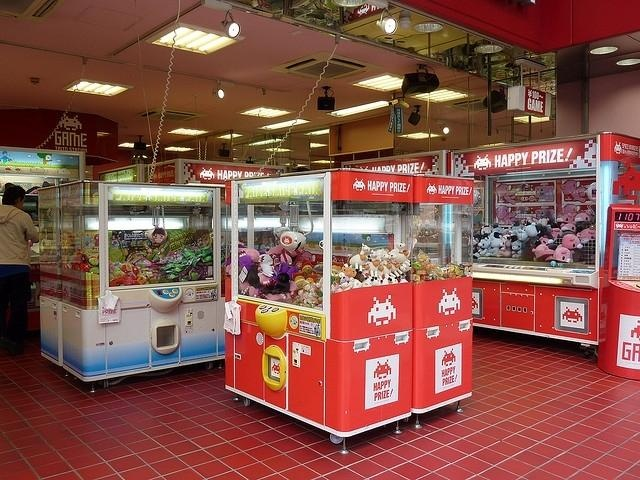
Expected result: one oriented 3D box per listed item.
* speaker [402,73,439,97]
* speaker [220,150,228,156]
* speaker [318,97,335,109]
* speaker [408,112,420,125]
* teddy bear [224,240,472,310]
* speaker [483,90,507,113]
[{"bbox_3d":[1.800,-2.730,8.436,0.624,0.366,0.413,-2,9,-14],"label":"speaker"},{"bbox_3d":[-3.065,-2.802,14.945,0.392,0.238,0.194,7,12,33],"label":"speaker"},{"bbox_3d":[0.126,-2.767,9.380,0.440,0.318,0.211,-1,6,-1],"label":"speaker"},{"bbox_3d":[2.064,-2.664,10.156,0.182,0.304,0.439,1,5,16],"label":"speaker"},{"bbox_3d":[0.130,0.319,4.523,2.198,0.598,0.999,1,5,17],"label":"teddy bear"},{"bbox_3d":[3.220,-2.569,8.502,0.314,0.507,0.787,1,5,16],"label":"speaker"}]
